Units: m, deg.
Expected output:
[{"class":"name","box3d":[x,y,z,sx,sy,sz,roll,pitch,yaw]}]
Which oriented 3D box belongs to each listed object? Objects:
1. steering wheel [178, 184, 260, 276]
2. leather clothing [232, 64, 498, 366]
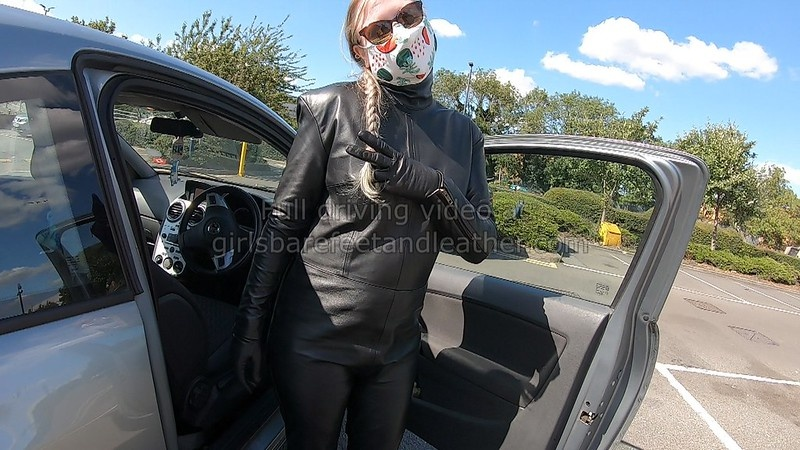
[{"class":"steering wheel","box3d":[-1.243,0.020,2.829,0.597,0.640,0.151,22,0,18]},{"class":"leather clothing","box3d":[-0.125,-0.060,1.964,1.148,1.424,0.446,5,12,-23]}]
